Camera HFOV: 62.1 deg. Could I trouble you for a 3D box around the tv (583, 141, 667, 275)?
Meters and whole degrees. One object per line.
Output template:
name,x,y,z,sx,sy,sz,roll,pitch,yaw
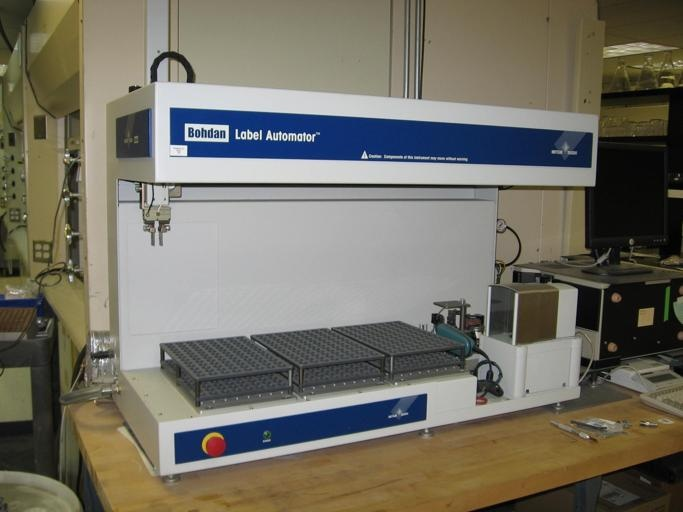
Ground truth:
tv,1.335,-0.238,2.681,0.666,0.686,0.230,0,-1,-32
